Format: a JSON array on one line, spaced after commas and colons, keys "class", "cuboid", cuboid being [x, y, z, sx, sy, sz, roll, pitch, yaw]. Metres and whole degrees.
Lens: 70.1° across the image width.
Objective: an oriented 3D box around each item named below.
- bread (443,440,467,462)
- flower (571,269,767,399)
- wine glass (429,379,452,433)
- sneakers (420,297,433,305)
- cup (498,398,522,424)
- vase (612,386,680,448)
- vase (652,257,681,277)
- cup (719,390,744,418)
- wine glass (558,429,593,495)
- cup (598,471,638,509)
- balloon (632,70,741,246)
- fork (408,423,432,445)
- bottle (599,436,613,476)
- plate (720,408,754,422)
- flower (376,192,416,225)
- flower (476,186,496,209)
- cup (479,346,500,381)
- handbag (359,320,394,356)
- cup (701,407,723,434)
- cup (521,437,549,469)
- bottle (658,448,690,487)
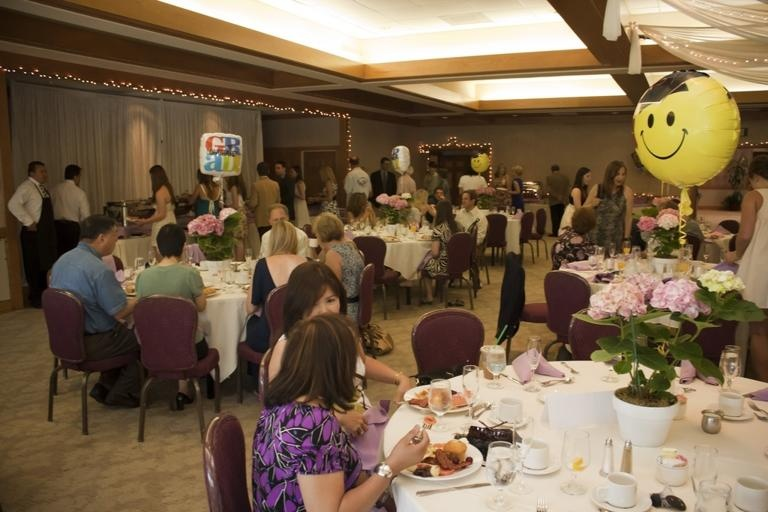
[{"class": "bread", "cuboid": [0.335, 0.921, 2.634, 0.088, 0.074, 0.092, 0, 12, -41]}, {"class": "flower", "cuboid": [1.456, 0.371, 2.925, 0.765, 0.567, 0.728, 1, -5, 20]}, {"class": "wine glass", "cuboid": [0.283, 0.743, 2.842, 0.103, 0.188, 0.118, 1, 14, 4]}, {"class": "sneakers", "cuboid": [0.573, 0.640, 7.736, 0.069, 0.080, 0.190, -4, 10, -43]}, {"class": "cup", "cuboid": [0.651, 0.802, 2.842, 0.094, 0.093, 0.129, -3, 1, 5]}, {"class": "vase", "cuboid": [1.278, 0.788, 2.701, 0.253, 0.186, 0.259, 1, -1, -3]}, {"class": "vase", "cuboid": [2.585, 0.099, 5.056, 0.176, 0.148, 0.193, 2, 3, 21]}, {"class": "cup", "cuboid": [1.852, 0.800, 2.939, 0.131, 0.102, 0.102, 0, -2, 6]}, {"class": "wine glass", "cuboid": [0.870, 0.931, 2.508, 0.120, 0.251, 0.183, 5, 15, 19]}, {"class": "cup", "cuboid": [1.029, 1.049, 2.439, 0.153, 0.102, 0.100, -5, 2, 20]}, {"class": "balloon", "cuboid": [1.924, -0.816, 3.550, 0.621, 0.751, 0.300, 9, 17, 31]}, {"class": "fork", "cuboid": [0.171, 0.873, 2.677, 0.062, 0.075, 0.130, 18, -10, 4]}, {"class": "bottle", "cuboid": [1.054, 0.931, 2.589, 0.059, 0.179, 0.182, 7, 16, 24]}, {"class": "plate", "cuboid": [1.884, 0.863, 2.937, 0.102, 0.015, 0.104, -6, 1, 36]}, {"class": "flower", "cuboid": [0.150, -0.742, 8.836, 0.491, 0.519, 0.506, 2, 1, 10]}, {"class": "flower", "cuboid": [2.050, -1.118, 11.041, 0.412, 0.508, 0.494, 2, 1, 23]}, {"class": "cup", "cuboid": [0.618, 0.633, 3.216, 0.153, 0.202, 0.198, -1, -2, 3]}, {"class": "handbag", "cuboid": [-0.091, 0.886, 5.902, 0.412, 0.130, 0.321, 0, 12, -21]}, {"class": "cup", "cuboid": [1.687, 0.860, 2.872, 0.101, 0.087, 0.110, 2, 3, 0]}, {"class": "cup", "cuboid": [0.694, 0.935, 2.598, 0.131, 0.099, 0.132, 0, -7, 0]}, {"class": "bottle", "cuboid": [1.311, 0.974, 2.537, 0.133, 0.141, 0.143, -2, -6, 17]}]
